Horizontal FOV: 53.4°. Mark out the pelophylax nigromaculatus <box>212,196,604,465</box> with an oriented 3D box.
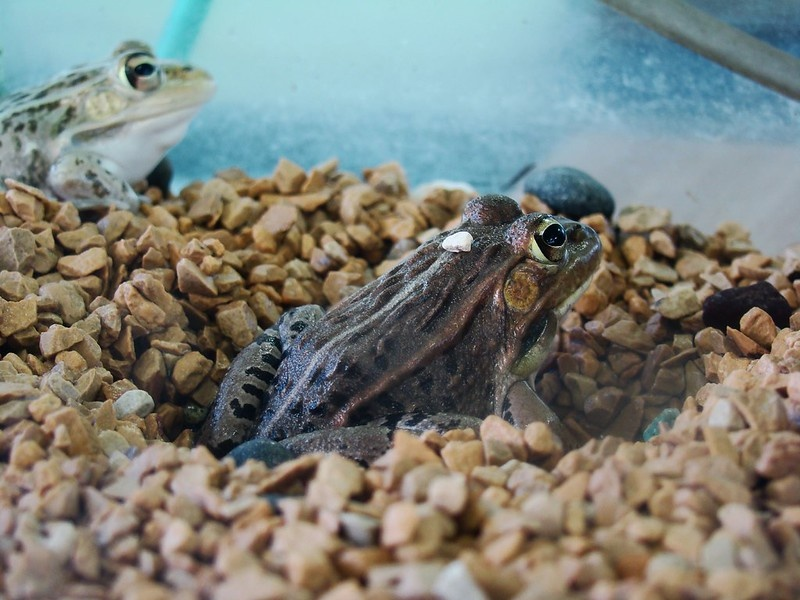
[{"bbox_3d":[0.042,0.108,2.110,1.039,0.730,0.670,1,40,-27],"label":"pelophylax nigromaculatus"}]
